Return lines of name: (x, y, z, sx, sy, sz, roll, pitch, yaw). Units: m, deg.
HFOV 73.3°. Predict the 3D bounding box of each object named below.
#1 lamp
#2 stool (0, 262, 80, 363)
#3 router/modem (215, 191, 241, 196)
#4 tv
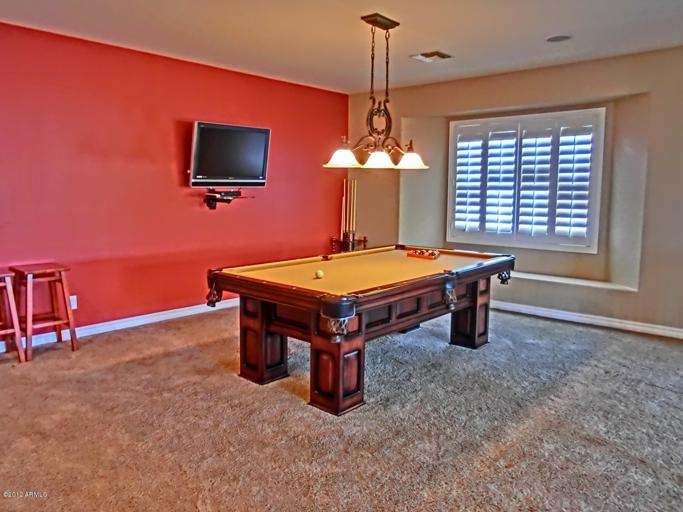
lamp: (0.348, -1.500, 4.146, 1.123, 1.269, 0.917, -11, 20, -35)
stool: (-2.857, 0.499, 4.358, 0.546, 0.835, 0.492, -9, 17, -31)
router/modem: (-1.337, -0.745, 5.505, 0.172, 0.064, 0.101, -4, 8, -34)
tv: (-1.362, -1.216, 5.442, 0.908, 0.663, 0.119, -3, 13, -43)
